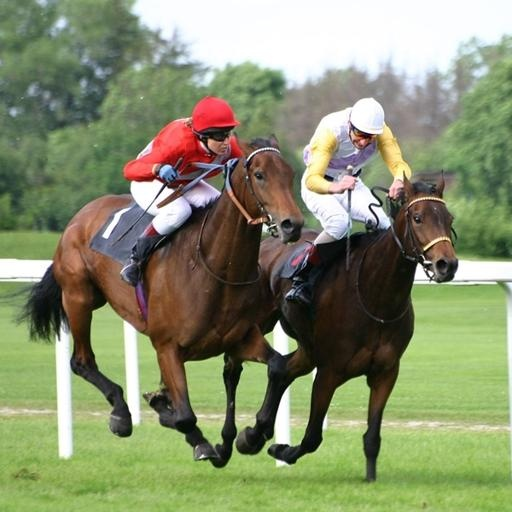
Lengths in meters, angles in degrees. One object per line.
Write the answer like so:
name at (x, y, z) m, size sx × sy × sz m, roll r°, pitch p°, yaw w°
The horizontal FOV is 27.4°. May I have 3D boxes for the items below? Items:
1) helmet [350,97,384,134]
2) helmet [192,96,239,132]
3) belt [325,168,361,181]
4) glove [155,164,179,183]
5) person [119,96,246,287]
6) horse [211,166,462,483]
helmet at (0.646, -0.812, 6.102) m, size 0.201 × 0.216 × 0.184 m, roll -2°, pitch 5°, yaw 4°
helmet at (-0.211, -0.834, 6.047) m, size 0.264 × 0.154 × 0.320 m, roll -23°, pitch 24°, yaw -39°
belt at (0.551, -0.501, 6.446) m, size 0.138 × 0.037 × 0.096 m, roll -8°, pitch -2°, yaw -38°
glove at (-0.494, -0.471, 5.966) m, size 0.098 × 0.103 × 0.049 m, roll -9°, pitch 2°, yaw -18°
person at (-0.365, -0.403, 6.279) m, size 0.844 × 1.095 × 0.671 m, roll 6°, pitch 18°, yaw -1°
horse at (0.493, 0.625, 6.584) m, size 0.761 × 1.733 × 2.657 m, roll 8°, pitch -11°, yaw -23°
